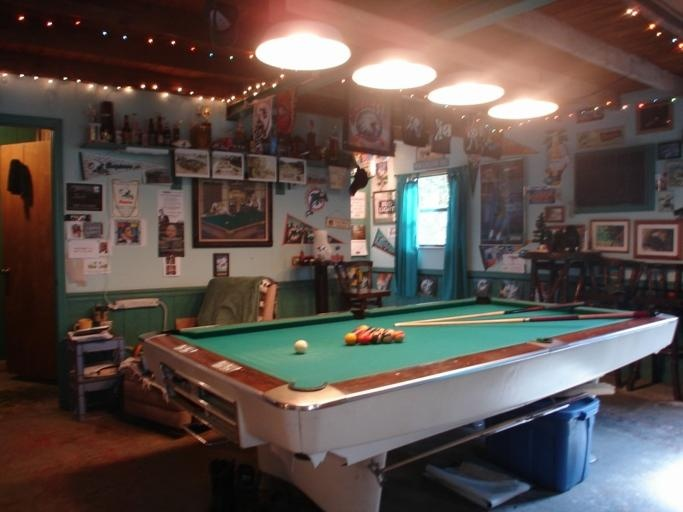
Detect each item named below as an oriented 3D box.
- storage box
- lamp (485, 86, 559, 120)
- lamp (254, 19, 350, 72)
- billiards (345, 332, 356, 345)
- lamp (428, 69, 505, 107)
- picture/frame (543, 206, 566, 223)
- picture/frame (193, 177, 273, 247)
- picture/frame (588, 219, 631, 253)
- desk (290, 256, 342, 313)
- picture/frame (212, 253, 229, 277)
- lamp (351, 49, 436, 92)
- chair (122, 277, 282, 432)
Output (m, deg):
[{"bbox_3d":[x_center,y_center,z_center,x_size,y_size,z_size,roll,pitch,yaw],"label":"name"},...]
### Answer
[{"bbox_3d":[1.528,1.431,4.224,0.835,0.563,0.565,-12,-10,39],"label":"storage box"},{"bbox_3d":[1.473,-1.270,4.500,0.680,0.155,0.673,-1,-3,16],"label":"lamp"},{"bbox_3d":[-0.243,-1.372,3.545,0.607,0.230,0.398,-2,11,-13],"label":"lamp"},{"bbox_3d":[0.064,0.537,3.576,0.066,0.071,0.070,-15,-4,38],"label":"billiards"},{"bbox_3d":[0.974,-1.296,4.199,0.713,0.162,0.699,-1,-1,5],"label":"lamp"},{"bbox_3d":[2.811,-0.550,7.119,0.096,0.251,0.288,1,-1,-32],"label":"picture/frame"},{"bbox_3d":[-1.309,-0.524,6.315,0.839,0.688,0.082,-3,7,-31],"label":"picture/frame"},{"bbox_3d":[3.275,-0.248,6.577,0.031,0.436,0.444,6,-4,-39],"label":"picture/frame"},{"bbox_3d":[-0.251,0.362,6.851,0.653,0.714,0.673,-11,-17,30],"label":"desk"},{"bbox_3d":[-1.416,0.100,6.293,0.276,0.365,0.037,-2,1,-41],"label":"picture/frame"},{"bbox_3d":[0.380,-1.299,3.806,0.541,0.192,0.401,-2,11,-11],"label":"lamp"},{"bbox_3d":[-1.456,0.865,5.595,1.192,1.565,1.617,-3,-6,43],"label":"chair"}]
